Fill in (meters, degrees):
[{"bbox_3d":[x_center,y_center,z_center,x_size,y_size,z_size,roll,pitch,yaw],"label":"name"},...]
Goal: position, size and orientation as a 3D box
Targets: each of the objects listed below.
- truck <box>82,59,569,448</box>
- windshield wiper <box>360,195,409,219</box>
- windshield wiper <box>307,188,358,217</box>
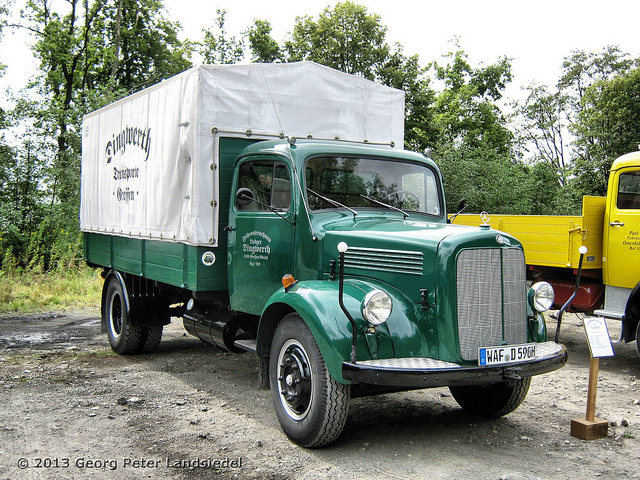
[{"bbox_3d":[-0.539,-0.211,9.181,3.658,5.023,9.167,0,1,-36],"label":"truck"},{"bbox_3d":[0.773,-0.410,6.558,0.546,0.081,0.071,26,-16,1],"label":"windshield wiper"},{"bbox_3d":[0.122,-0.444,6.351,0.549,0.065,0.059,31,-41,-1],"label":"windshield wiper"}]
